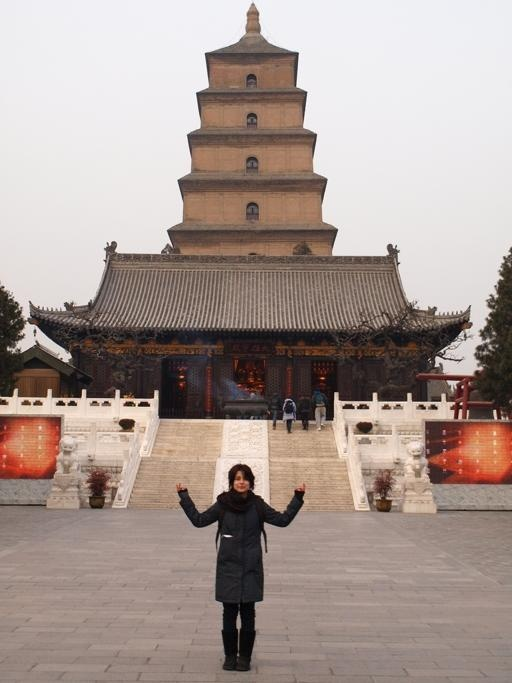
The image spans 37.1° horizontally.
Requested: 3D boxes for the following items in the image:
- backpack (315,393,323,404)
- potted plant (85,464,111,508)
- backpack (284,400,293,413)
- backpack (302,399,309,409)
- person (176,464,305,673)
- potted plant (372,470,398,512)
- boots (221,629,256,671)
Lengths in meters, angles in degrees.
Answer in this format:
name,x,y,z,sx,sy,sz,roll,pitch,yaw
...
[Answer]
name,x,y,z,sx,sy,sz,roll,pitch,yaw
backpack,1.755,1.611,21.865,0.304,0.369,0.209,0,-22,0
potted plant,-3.203,2.941,15.363,0.703,0.979,0.643,2,-12,-4
backpack,0.824,1.775,20.999,0.324,0.386,0.290,0,-14,-2
backpack,1.355,1.742,21.556,0.187,0.322,0.517,4,7,3
person,-0.096,1.329,4.637,0.582,1.172,0.635,-3,10,-41
potted plant,2.555,3.000,15.539,0.398,0.814,1.398,5,7,9
boots,-0.108,1.802,4.445,0.209,0.236,0.208,1,-17,0
